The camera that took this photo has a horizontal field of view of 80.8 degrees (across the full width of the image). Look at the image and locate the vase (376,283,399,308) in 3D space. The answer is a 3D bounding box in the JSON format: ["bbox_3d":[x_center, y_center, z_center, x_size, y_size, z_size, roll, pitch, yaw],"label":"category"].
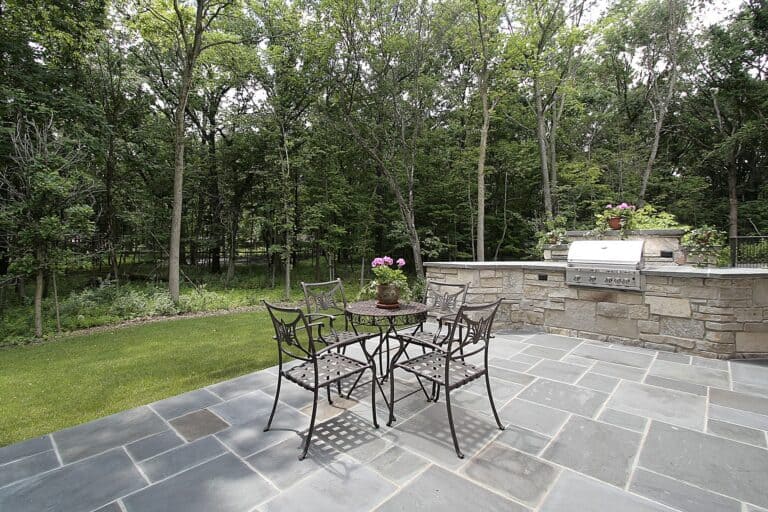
[{"bbox_3d":[0.064,0.721,8.095,0.448,0.326,0.451,-3,-4,31],"label":"vase"}]

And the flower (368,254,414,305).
[{"bbox_3d":[0.137,0.471,8.306,0.822,0.842,0.931,2,-2,29],"label":"flower"}]

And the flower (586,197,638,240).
[{"bbox_3d":[5.381,-0.840,10.673,0.980,0.847,0.365,-2,1,19],"label":"flower"}]

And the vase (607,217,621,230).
[{"bbox_3d":[5.391,-0.773,10.660,0.316,0.189,0.282,2,-6,-18],"label":"vase"}]

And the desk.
[{"bbox_3d":[-0.256,1.743,8.393,2.016,1.913,1.829,-2,1,-40],"label":"desk"}]
